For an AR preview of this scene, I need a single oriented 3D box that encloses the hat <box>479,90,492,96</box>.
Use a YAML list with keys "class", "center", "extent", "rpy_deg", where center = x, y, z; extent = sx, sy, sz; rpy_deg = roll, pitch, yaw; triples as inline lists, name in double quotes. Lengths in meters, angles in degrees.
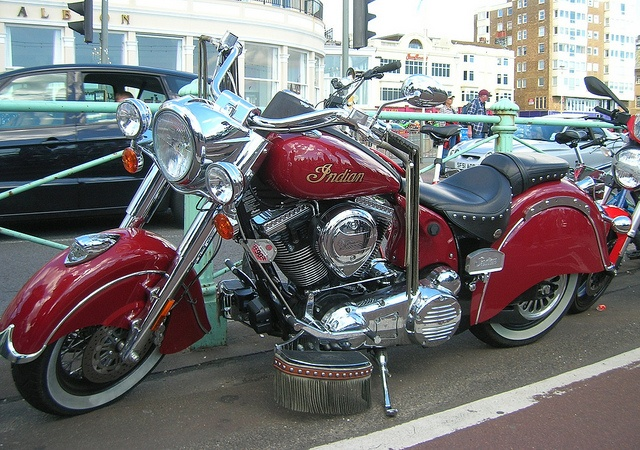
- class: "hat"
  center: [3.708, -3.020, 11.433]
  extent: [0.352, 0.112, 0.344]
  rpy_deg: [-4, 19, -7]
